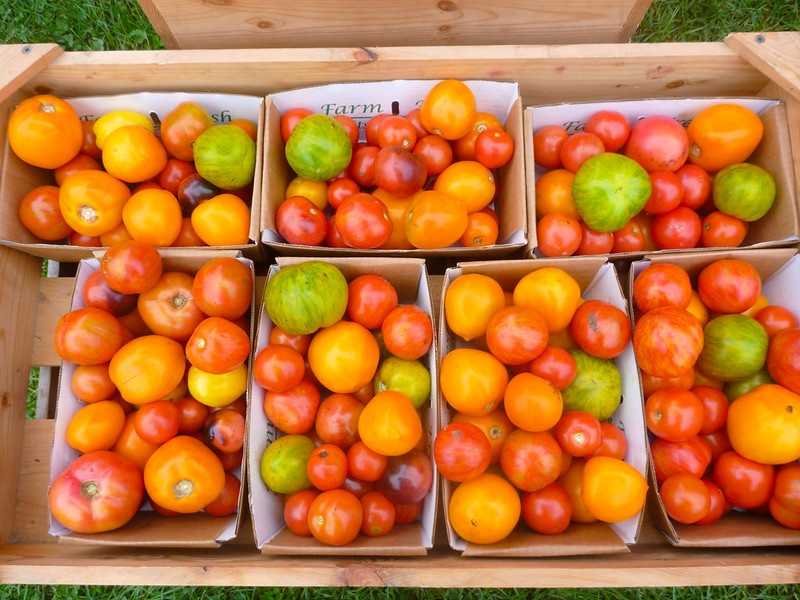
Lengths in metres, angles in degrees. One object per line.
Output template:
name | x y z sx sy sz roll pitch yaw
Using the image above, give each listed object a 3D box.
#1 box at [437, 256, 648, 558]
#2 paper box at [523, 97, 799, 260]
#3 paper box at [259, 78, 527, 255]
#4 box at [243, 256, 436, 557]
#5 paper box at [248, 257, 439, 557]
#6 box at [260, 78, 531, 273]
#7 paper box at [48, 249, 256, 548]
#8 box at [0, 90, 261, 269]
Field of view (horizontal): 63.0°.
box | 0.681 0.394 2.890 0.865 0.454 1.170 -3 88 0
paper box | 1.471 -0.570 3.321 1.194 0.409 0.741 -2 94 4
paper box | -0.048 -0.608 3.303 1.211 0.541 0.792 -1 95 -2
box | -0.313 0.425 2.868 0.820 0.398 1.170 -1 88 2
paper box | -0.308 0.423 2.782 0.818 0.395 1.174 -1 88 3
box | -0.038 -0.573 3.331 1.219 0.515 0.795 -1 89 -3
paper box | -1.144 0.368 2.926 0.884 0.399 1.218 0 87 -3
box | -1.192 -0.654 3.045 1.082 0.488 0.715 -1 96 -3
